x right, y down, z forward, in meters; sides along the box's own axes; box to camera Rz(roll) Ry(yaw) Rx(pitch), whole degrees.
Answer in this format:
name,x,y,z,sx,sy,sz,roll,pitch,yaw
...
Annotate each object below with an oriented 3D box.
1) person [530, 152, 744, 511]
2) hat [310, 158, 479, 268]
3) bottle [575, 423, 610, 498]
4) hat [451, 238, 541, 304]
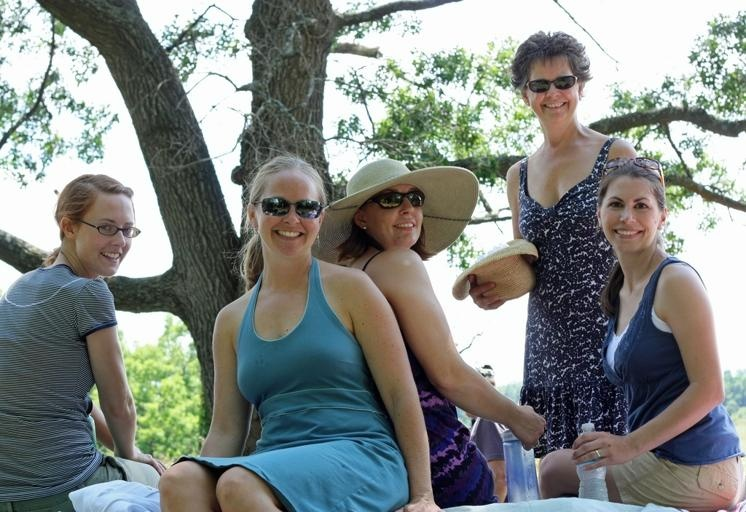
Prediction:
name,x,y,z,sx,sy,sz,roll,pitch,yaw
person,1.517,0.389,4.085,0.962,1.945,0.523,-2,-11,13
hat,0.284,-0.351,4.793,0.688,0.302,0.927,-15,-25,-18
bottle,1.174,1.096,3.940,0.156,0.404,0.339,-3,-12,16
hat,0.821,0.070,5.080,0.519,0.213,0.499,-30,-12,-22
